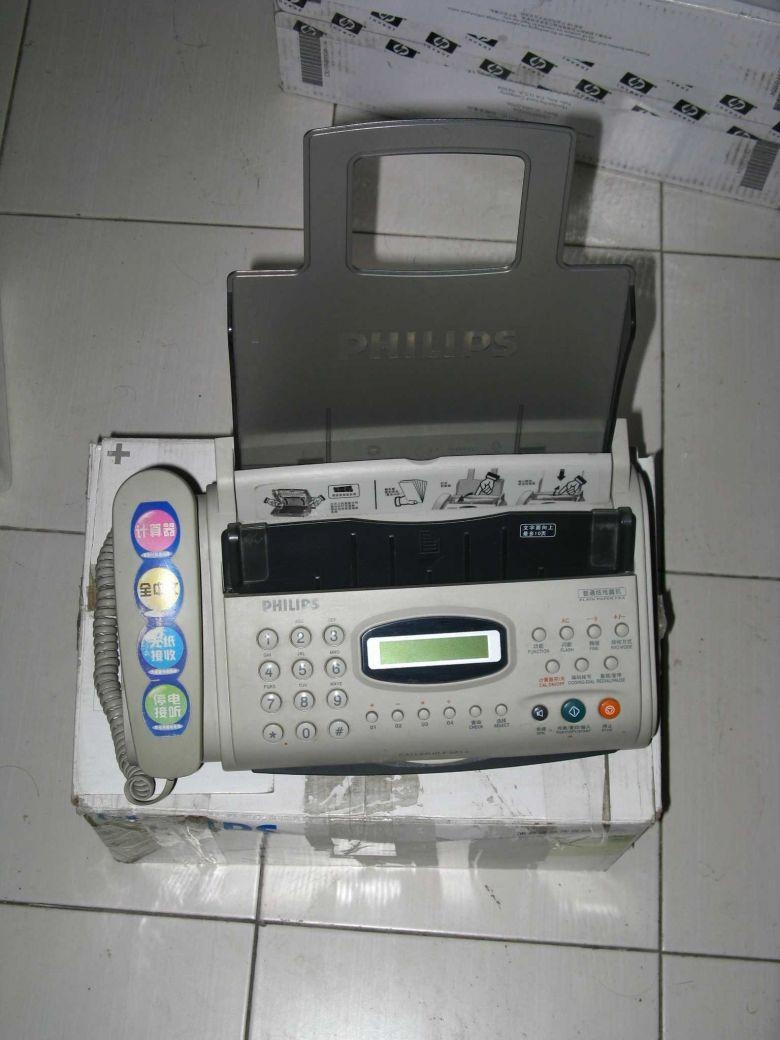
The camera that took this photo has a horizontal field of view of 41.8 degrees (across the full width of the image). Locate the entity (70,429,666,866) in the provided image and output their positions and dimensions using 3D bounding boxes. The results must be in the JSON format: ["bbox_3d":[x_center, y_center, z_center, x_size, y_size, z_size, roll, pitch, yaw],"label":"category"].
[{"bbox_3d":[-0.015,0.244,1.253,0.727,0.485,0.388,-1,64,-1],"label":"entity"}]

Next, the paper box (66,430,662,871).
[{"bbox_3d":[-0.022,0.241,1.244,0.707,0.486,0.391,-1,64,-2],"label":"paper box"}]

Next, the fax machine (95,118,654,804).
[{"bbox_3d":[-0.012,-0.043,0.808,0.449,0.377,0.374,-3,57,2],"label":"fax machine"}]
